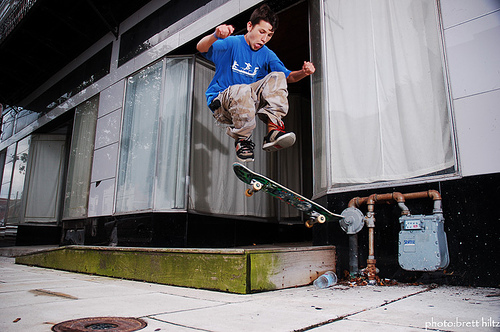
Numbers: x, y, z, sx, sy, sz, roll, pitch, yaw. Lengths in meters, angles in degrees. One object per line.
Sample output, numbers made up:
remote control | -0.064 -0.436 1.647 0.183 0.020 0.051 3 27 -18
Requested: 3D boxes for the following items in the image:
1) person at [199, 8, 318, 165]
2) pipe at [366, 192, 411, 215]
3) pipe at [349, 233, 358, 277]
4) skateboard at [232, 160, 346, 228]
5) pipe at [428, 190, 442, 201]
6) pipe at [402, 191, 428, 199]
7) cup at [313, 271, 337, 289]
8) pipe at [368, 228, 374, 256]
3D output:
person | -0.022 -0.978 4.439 1.157 1.920 0.686 0 0 7
pipe | 1.525 0.408 4.033 0.434 0.232 0.142 0 0 20
pipe | 1.182 1.010 4.157 0.100 0.469 0.145 0 0 16
skateboard | 0.519 0.488 5.755 1.821 0.324 0.449 33 -34 3
pipe | 1.950 0.312 3.858 0.122 0.133 0.076 -21 -18 40
pipe | 1.794 0.312 3.947 0.242 0.086 0.038 0 0 24
cup | 0.800 1.236 3.922 0.138 0.126 0.422 0 1 39
pipe | 1.347 0.849 4.060 0.059 0.310 0.141 0 0 18
